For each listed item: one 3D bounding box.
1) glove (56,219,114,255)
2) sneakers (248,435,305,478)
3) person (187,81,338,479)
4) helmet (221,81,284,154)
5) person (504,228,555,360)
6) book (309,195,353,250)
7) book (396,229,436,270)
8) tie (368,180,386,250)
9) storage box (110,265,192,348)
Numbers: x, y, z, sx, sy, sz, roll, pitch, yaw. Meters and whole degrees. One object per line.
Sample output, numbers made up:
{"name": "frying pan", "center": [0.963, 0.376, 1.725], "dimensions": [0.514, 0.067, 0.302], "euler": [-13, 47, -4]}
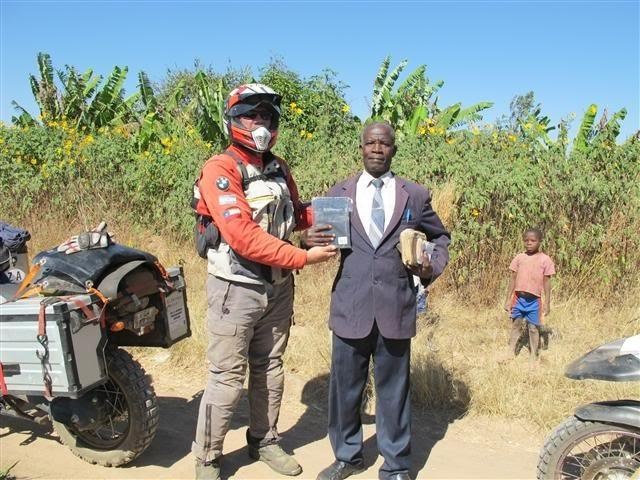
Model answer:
{"name": "glove", "center": [-2.090, 0.017, 4.809], "dimensions": [0.382, 0.282, 0.172], "euler": [-13, -16, -21]}
{"name": "sneakers", "center": [-0.425, 1.895, 4.939], "dimensions": [0.604, 0.285, 0.214], "euler": [12, 20, 31]}
{"name": "person", "center": [-0.587, 0.369, 4.563], "dimensions": [0.981, 3.402, 0.765], "euler": [1, 1, -16]}
{"name": "helmet", "center": [-0.616, -1.030, 4.650], "dimensions": [0.426, 0.548, 0.558], "euler": [1, -1, -17]}
{"name": "person", "center": [2.800, 0.698, 7.162], "dimensions": [0.555, 1.298, 0.858], "euler": [2, 1, 24]}
{"name": "book", "center": [0.094, -0.131, 4.340], "dimensions": [0.393, 0.557, 0.054], "euler": [-1, 2, -1]}
{"name": "book", "center": [0.765, 0.062, 4.256], "dimensions": [0.262, 0.292, 0.099], "euler": [2, 0, -17]}
{"name": "tie", "center": [0.479, -0.222, 4.496], "dimensions": [0.120, 0.568, 0.107], "euler": [1, 1, 6]}
{"name": "storage box", "center": [-1.537, 0.621, 5.157], "dimensions": [0.614, 0.905, 0.670], "euler": [-4, 4, -38]}
